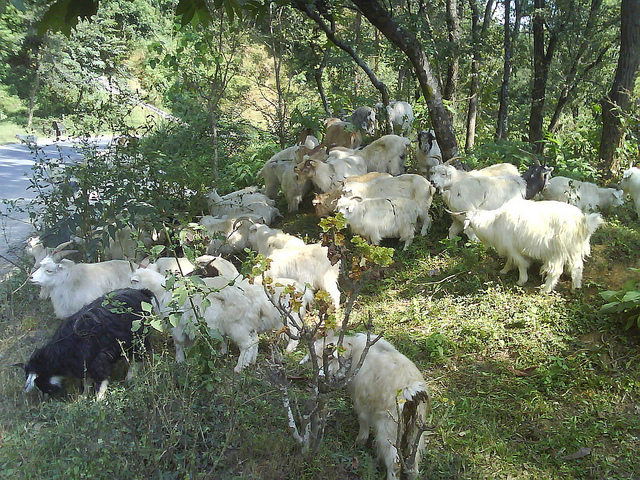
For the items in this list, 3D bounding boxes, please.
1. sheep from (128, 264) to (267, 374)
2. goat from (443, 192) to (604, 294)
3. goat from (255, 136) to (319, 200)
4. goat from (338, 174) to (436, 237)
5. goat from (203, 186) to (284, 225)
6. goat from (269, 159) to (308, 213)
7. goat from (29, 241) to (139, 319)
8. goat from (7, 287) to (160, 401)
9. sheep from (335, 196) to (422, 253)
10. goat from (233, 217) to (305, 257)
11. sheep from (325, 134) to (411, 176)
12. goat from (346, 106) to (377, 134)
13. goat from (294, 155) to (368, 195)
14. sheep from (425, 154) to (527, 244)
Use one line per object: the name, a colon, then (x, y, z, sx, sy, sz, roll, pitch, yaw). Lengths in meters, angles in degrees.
sheep: (-1.378, 1.007, 5.876, 1.838, 1.242, 0.559, -5, -17, 18)
goat: (2.865, 0.040, 6.764, 2.071, 1.200, 0.725, 12, 27, 42)
goat: (-0.637, -1.610, 11.156, 1.238, 1.534, 1.188, 5, 15, 23)
goat: (1.271, -0.658, 8.722, 1.461, 1.141, 1.520, -9, 21, -34)
goat: (-1.597, -0.635, 9.641, 1.318, 0.737, 1.101, -2, 15, -15)
goat: (-0.646, -1.238, 10.181, 0.722, 1.192, 0.702, -1, 17, 3)
goat: (-3.312, 0.559, 6.843, 1.168, 1.209, 1.165, -2, 10, -18)
goat: (-2.824, 0.874, 5.646, 1.440, 1.187, 1.317, -10, 21, -44)
sheep: (0.986, -0.283, 8.065, 1.409, 1.009, 0.664, -3, 14, 1)
goat: (-0.801, -0.120, 8.093, 0.505, 0.889, 1.545, -8, 12, -43)
sheep: (1.039, -1.798, 10.461, 0.750, 1.090, 1.948, 0, 7, -10)
goat: (1.165, -3.038, 12.113, 0.655, 0.605, 1.142, -5, 31, -1)
goat: (0.366, -1.195, 9.403, 1.799, 0.965, 0.626, -7, -2, -24)
sheep: (2.860, -0.778, 7.846, 2.139, 1.532, 0.799, -10, 3, -14)
